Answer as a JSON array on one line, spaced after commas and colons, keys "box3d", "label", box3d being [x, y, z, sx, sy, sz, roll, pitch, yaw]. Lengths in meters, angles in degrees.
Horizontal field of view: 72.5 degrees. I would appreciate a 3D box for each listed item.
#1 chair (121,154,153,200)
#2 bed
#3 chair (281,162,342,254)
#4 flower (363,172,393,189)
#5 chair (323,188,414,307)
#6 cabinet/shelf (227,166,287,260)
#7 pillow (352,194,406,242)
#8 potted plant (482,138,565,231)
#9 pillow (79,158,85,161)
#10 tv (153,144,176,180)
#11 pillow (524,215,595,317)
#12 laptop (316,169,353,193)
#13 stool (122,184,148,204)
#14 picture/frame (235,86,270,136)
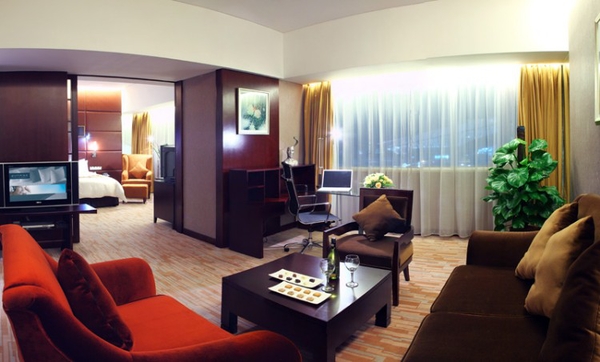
[{"box3d": [-4.907, -0.127, 12.291, 0.870, 1.349, 1.213, 0, 5, -16], "label": "chair"}, {"box3d": [-5.376, -0.020, 11.028, 0.815, 0.664, 1.285, 6, -17, -4], "label": "bed"}, {"box3d": [0.209, 0.542, 7.314, 1.005, 1.566, 0.970, 0, 5, -10], "label": "chair"}, {"box3d": [1.404, 0.002, 7.243, 0.349, 0.226, 0.342, 1, 0, -30], "label": "flower"}, {"box3d": [1.116, 0.863, 6.038, 1.165, 1.400, 1.056, 4, 6, 40], "label": "chair"}, {"box3d": [-0.566, 0.537, 7.725, 0.800, 1.447, 1.520, 7, 6, 33], "label": "cabinet/shelf"}, {"box3d": [1.227, 0.486, 6.188, 0.836, 0.219, 0.787, -2, 8, 5], "label": "pillow"}, {"box3d": [3.540, 0.118, 6.573, 1.203, 1.669, 1.402, 1, 4, 44], "label": "potted plant"}, {"box3d": [-6.080, -0.602, 11.361, 0.208, 0.061, 0.225, 0, 4, -18], "label": "pillow"}, {"box3d": [-2.875, -0.422, 9.061, 0.561, 0.665, 0.619, 0, 1, 7], "label": "tv"}, {"box3d": [2.634, 0.878, 4.112, 0.438, 0.766, 0.879, 1, -13, 15], "label": "pillow"}, {"box3d": [0.641, 0.004, 7.606, 0.610, 0.373, 0.464, 1, 8, 19], "label": "laptop"}, {"box3d": [-4.689, 0.315, 11.667, 0.621, 0.481, 0.593, 0, 8, -4], "label": "stool"}, {"box3d": [-0.881, -1.318, 7.774, 0.039, 0.783, 0.812, 7, 10, 40], "label": "picture/frame"}]
